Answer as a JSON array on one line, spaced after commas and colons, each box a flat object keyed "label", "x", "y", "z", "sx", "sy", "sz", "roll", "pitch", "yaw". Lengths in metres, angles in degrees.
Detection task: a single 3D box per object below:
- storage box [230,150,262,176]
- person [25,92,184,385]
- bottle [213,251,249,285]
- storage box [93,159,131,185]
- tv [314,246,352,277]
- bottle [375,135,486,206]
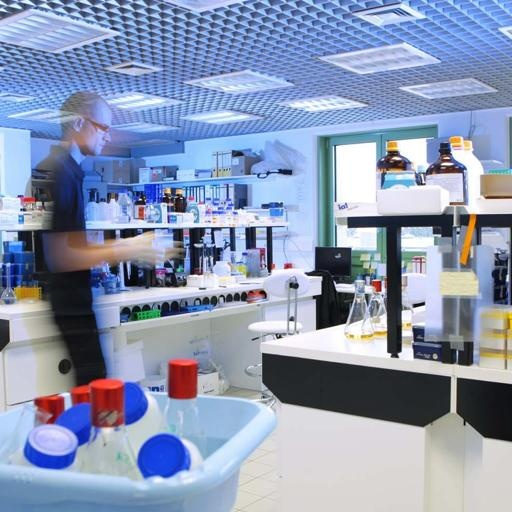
[{"label": "storage box", "x": -0.185, "y": -1.596, "z": 8.196, "sx": 0.241, "sy": 0.450, "sz": 0.457, "roll": 4, "pitch": 3, "yaw": 38}, {"label": "person", "x": -0.856, "y": 0.046, "z": 2.348, "sx": 0.385, "sy": 1.487, "sz": 0.987, "roll": -4, "pitch": 4, "yaw": -25}, {"label": "bottle", "x": -0.321, "y": 0.141, "z": 4.877, "sx": 0.223, "sy": 0.391, "sz": 0.389, "roll": -4, "pitch": -9, "yaw": 24}, {"label": "storage box", "x": -2.878, "y": -1.616, "z": 9.476, "sx": 0.533, "sy": 0.546, "sz": 0.545, "roll": 1, "pitch": 1, "yaw": 39}, {"label": "tv", "x": 1.156, "y": 0.079, "z": 7.055, "sx": 0.416, "sy": 0.380, "sz": 0.111, "roll": -1, "pitch": -4, "yaw": 26}, {"label": "bottle", "x": 0.653, "y": -0.317, "z": 1.813, "sx": 0.365, "sy": 0.262, "sz": 0.394, "roll": -2, "pitch": 4, "yaw": 0}]
